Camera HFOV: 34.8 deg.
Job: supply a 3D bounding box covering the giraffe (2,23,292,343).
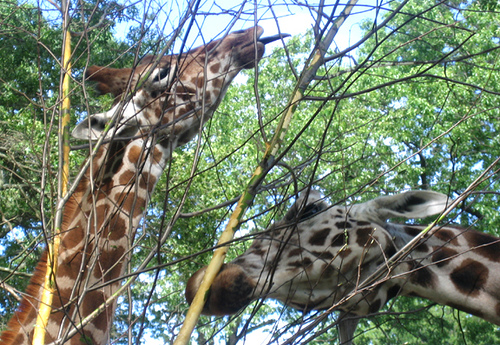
[{"bbox_3d":[-1.863,0.064,12.464,2.102,5.150,3.667,29,-45,-15],"label":"giraffe"}]
